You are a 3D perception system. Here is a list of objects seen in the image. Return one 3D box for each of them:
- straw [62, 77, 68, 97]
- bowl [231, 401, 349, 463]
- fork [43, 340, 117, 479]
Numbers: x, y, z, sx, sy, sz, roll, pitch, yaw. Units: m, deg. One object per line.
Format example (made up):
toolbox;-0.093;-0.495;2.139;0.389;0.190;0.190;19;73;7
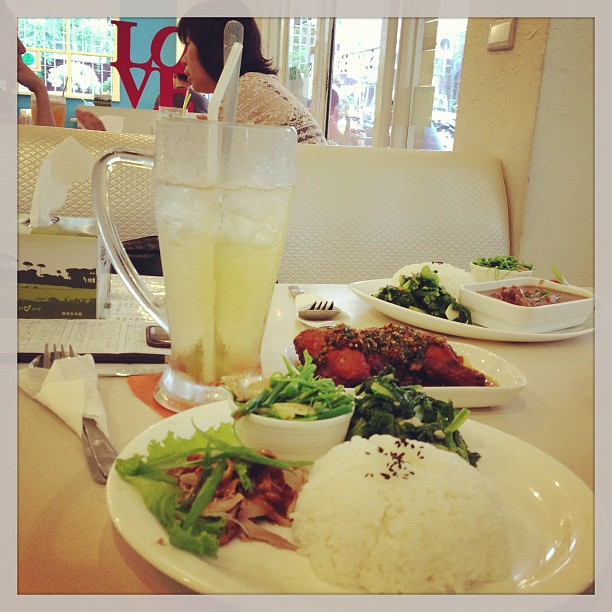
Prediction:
straw;-0.160;-0.145;0.352;0.003;0.012;0.013;-9;21;-31
bowl;-0.008;0.079;0.323;0.071;0.026;0.042;0;17;-9
fork;-0.154;0.072;0.361;0.015;0.016;0.118;-17;37;-31
